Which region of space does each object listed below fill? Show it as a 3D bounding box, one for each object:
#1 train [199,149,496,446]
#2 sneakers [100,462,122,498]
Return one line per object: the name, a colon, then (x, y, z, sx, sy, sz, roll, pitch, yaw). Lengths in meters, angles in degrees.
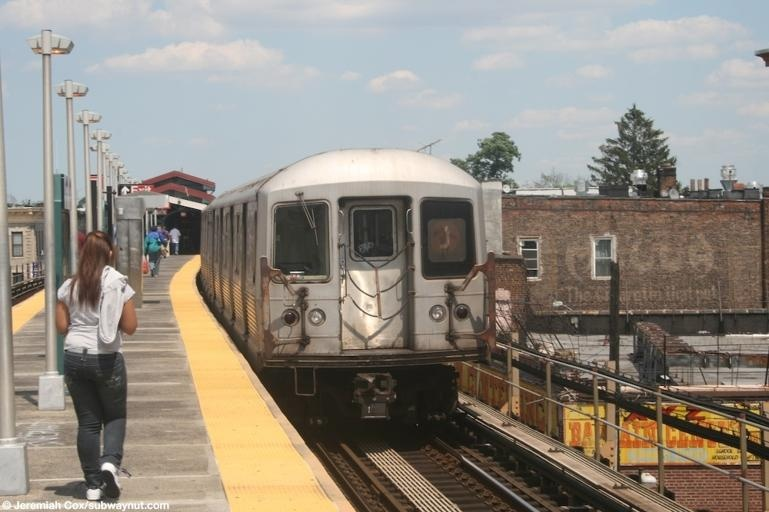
train: (-1.093, 0.634, 16.978, 5.769, 4.779, 3.114, -1, 3, 44)
sneakers: (-3.093, 2.595, 11.258, 0.207, 0.439, 0.215, -6, 16, 1)
